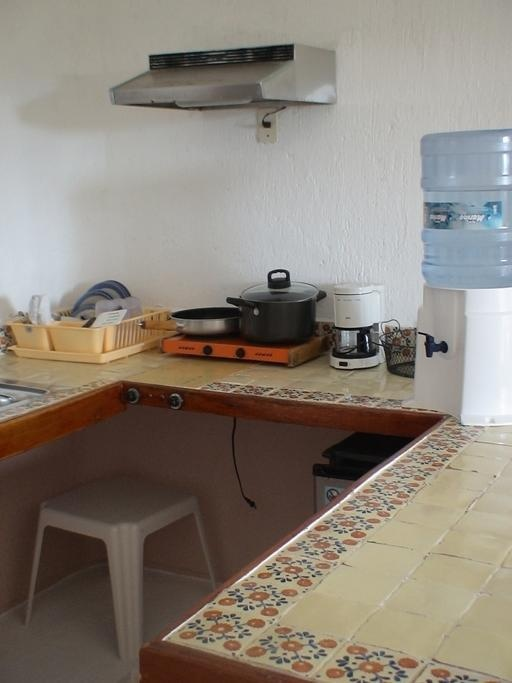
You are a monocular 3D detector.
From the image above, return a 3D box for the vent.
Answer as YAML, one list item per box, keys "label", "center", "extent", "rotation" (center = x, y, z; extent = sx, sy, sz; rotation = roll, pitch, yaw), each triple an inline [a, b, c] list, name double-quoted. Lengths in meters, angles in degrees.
- label: "vent"
  center: [-0.106, -0.900, 1.975]
  extent: [0.631, 0.166, 0.434]
  rotation: [14, 24, 34]

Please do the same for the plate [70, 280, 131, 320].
- label: "plate"
  center: [-0.700, -0.186, 2.563]
  extent: [0.302, 0.174, 0.212]
  rotation: [-1, 3, 11]

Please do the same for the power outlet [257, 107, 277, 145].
- label: "power outlet"
  center: [0.038, -0.808, 2.176]
  extent: [0.098, 0.124, 0.030]
  rotation: [1, 4, 38]

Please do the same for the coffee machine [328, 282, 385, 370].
- label: "coffee machine"
  center: [0.341, -0.048, 1.922]
  extent: [0.230, 0.322, 0.282]
  rotation: [3, 10, 29]

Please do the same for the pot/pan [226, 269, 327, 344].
- label: "pot/pan"
  center: [0.078, -0.119, 2.027]
  extent: [0.255, 0.264, 0.250]
  rotation: [0, 3, 27]
